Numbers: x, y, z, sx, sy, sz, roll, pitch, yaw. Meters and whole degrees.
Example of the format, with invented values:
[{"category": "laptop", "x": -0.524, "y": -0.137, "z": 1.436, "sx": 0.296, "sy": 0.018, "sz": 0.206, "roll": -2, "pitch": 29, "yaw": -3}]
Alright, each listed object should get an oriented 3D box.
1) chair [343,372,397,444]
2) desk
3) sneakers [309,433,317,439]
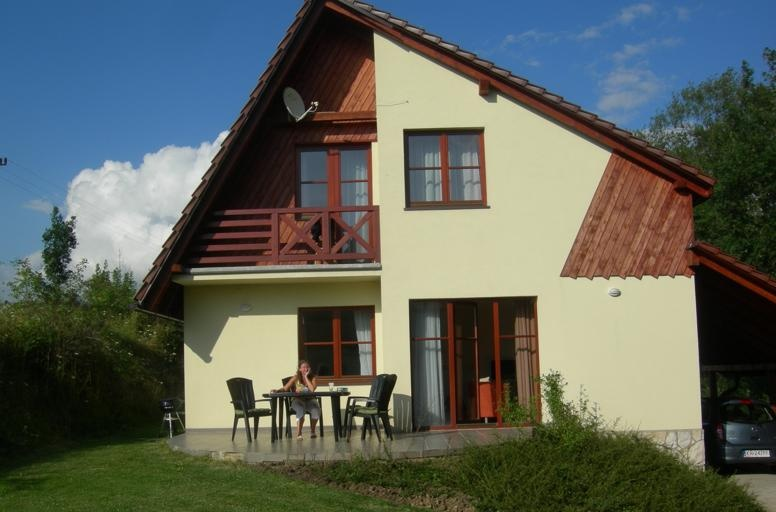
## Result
[{"category": "chair", "x": -0.402, "y": 4.756, "z": 26.014, "sx": 1.651, "sy": 2.803, "sz": 1.708, "roll": -3, "pitch": -10, "yaw": 16}, {"category": "desk", "x": -2.624, "y": 4.956, "z": 25.491, "sx": 2.388, "sy": 1.658, "sz": 2.256, "roll": 3, "pitch": -16, "yaw": -8}, {"category": "sneakers", "x": -2.304, "y": 5.550, "z": 25.522, "sx": 0.179, "sy": 0.225, "sz": 0.122, "roll": -1, "pitch": -4, "yaw": 0}]
